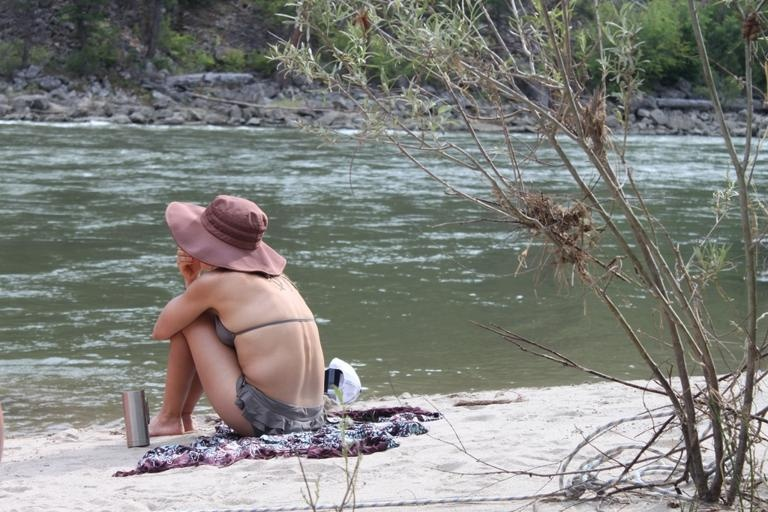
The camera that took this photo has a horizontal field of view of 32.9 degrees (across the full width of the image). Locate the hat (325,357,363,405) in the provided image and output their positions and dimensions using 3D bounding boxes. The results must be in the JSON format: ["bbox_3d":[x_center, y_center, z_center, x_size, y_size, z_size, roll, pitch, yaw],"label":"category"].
[{"bbox_3d":[-0.499,1.521,15.382,0.315,0.332,0.594,-11,-15,-14],"label":"hat"}]

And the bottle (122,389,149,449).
[{"bbox_3d":[-2.850,1.883,14.893,0.295,0.654,0.166,-9,6,-11],"label":"bottle"}]
